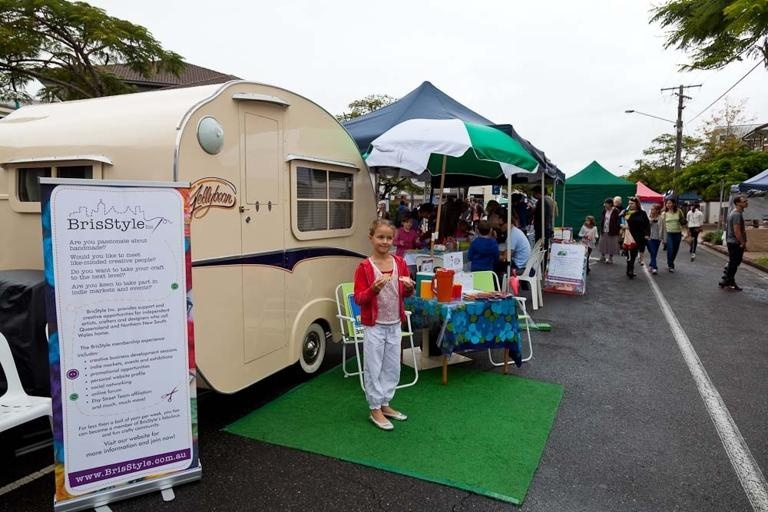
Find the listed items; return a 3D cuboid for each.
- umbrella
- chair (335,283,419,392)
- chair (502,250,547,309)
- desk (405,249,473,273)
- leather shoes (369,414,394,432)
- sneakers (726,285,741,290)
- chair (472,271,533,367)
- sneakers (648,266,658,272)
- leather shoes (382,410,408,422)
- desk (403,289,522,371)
[{"bbox_3d":[1.297,-1.209,9.302,2.200,1.576,2.411,-3,9,-45],"label":"umbrella"},{"bbox_3d":[0.108,0.967,6.313,1.147,1.619,1.116,1,-2,-31],"label":"chair"},{"bbox_3d":[2.689,0.402,9.753,0.794,1.174,0.809,-1,5,12],"label":"chair"},{"bbox_3d":[0.863,0.051,8.314,0.445,0.373,0.796,5,9,32],"label":"desk"},{"bbox_3d":[-0.028,1.723,5.214,0.106,0.103,0.242,-1,-1,-40],"label":"leather shoes"},{"bbox_3d":[7.806,0.698,11.232,0.293,0.134,0.102,1,3,26],"label":"sneakers"},{"bbox_3d":[1.801,0.895,7.186,0.806,1.227,0.763,4,-6,-4],"label":"chair"},{"bbox_3d":[7.175,0.331,13.436,0.121,0.169,0.416,-6,-5,13],"label":"sneakers"},{"bbox_3d":[0.130,1.660,5.319,0.293,0.125,0.105,1,3,15],"label":"leather shoes"},{"bbox_3d":[0.953,0.928,6.249,1.401,0.661,1.448,11,-12,-18],"label":"desk"}]
